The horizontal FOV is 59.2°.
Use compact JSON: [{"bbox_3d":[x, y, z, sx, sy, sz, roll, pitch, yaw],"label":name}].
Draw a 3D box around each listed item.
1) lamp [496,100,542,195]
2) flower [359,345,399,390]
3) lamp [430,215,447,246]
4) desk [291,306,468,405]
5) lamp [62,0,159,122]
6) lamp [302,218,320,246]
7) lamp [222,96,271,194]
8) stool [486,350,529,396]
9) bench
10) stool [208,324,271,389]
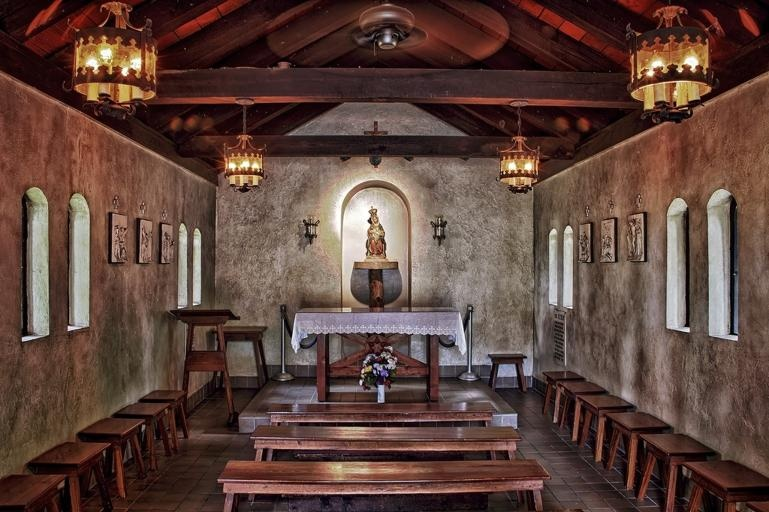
[{"bbox_3d":[1.974,-1.624,9.986,0.623,1.327,0.570,0,-4,16],"label":"lamp"},{"bbox_3d":[-0.089,1.762,10.385,0.642,0.523,0.531,-8,23,-31],"label":"flower"},{"bbox_3d":[1.067,-0.513,13.394,0.310,0.571,0.202,-1,-6,2],"label":"lamp"},{"bbox_3d":[-0.104,1.682,11.273,2.742,1.468,1.215,1,-8,-2],"label":"desk"},{"bbox_3d":[-2.638,-1.855,6.630,0.740,0.919,0.391,0,-2,-17],"label":"lamp"},{"bbox_3d":[-1.443,-0.511,13.266,0.338,0.523,0.186,0,-2,-9],"label":"lamp"},{"bbox_3d":[-2.088,-1.661,10.060,0.630,1.440,0.672,-2,-6,16],"label":"lamp"},{"bbox_3d":[2.392,2.264,13.182,0.809,0.729,0.650,0,-2,0],"label":"stool"},{"bbox_3d":[-0.012,2.625,8.077,3.565,0.890,1.417,0,-3,-3],"label":"bench"},{"bbox_3d":[-2.954,1.941,12.921,1.032,1.583,1.082,0,-9,-6],"label":"stool"}]
